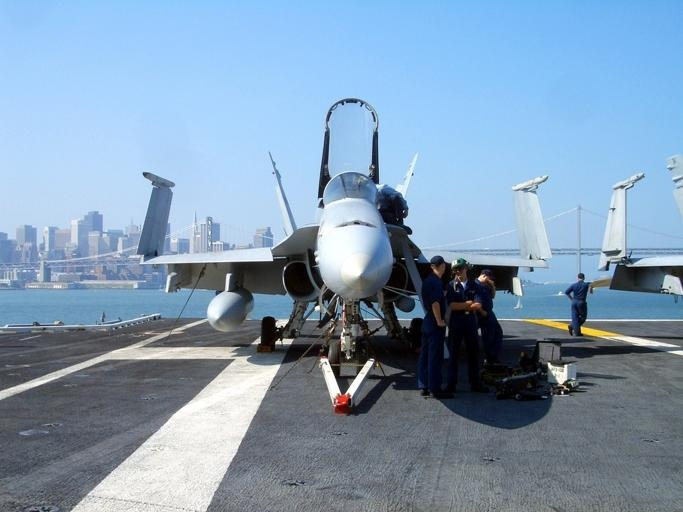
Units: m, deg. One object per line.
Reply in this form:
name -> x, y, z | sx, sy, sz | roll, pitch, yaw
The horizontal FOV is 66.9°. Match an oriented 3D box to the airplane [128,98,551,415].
airplane -> -0.772, -0.354, 11.465 | 6.669, 3.712, 8.530 | -1, 2, 0

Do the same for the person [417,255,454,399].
person -> 1.348, 1.060, 7.653 | 0.465, 2.098, 0.629 | -2, 0, 9

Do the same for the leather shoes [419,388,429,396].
leather shoes -> 1.259, 2.064, 7.891 | 0.120, 0.096, 0.116 | 0, 1, -36
